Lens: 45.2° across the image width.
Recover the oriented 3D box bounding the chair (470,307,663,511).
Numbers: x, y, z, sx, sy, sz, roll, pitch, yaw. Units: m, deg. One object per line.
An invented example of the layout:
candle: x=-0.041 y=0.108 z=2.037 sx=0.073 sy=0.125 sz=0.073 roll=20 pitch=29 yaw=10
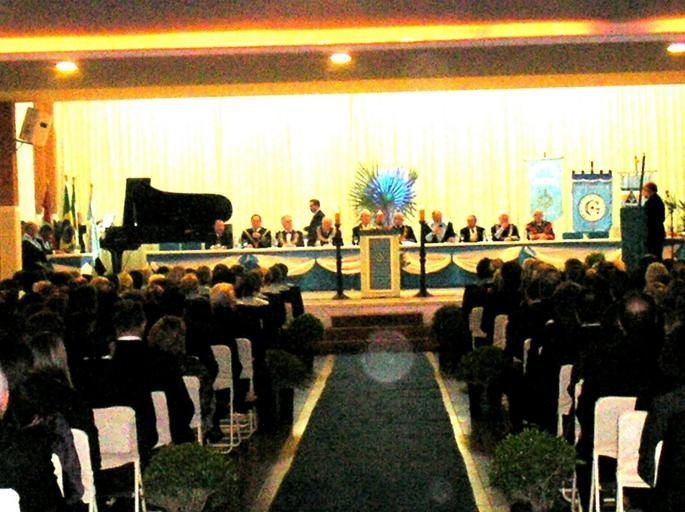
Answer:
chair: x=1.631 y=1.107 z=6.366 sx=1.194 sy=1.950 sz=1.105 roll=-1 pitch=-2 yaw=19

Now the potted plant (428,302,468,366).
potted plant: x=1.207 y=0.896 z=9.110 sx=0.405 sy=0.710 sz=0.346 roll=-1 pitch=-8 yaw=-38

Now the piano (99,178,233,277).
piano: x=-2.596 y=-0.419 z=12.377 sx=1.584 sy=1.357 sz=1.205 roll=1 pitch=0 yaw=-11
